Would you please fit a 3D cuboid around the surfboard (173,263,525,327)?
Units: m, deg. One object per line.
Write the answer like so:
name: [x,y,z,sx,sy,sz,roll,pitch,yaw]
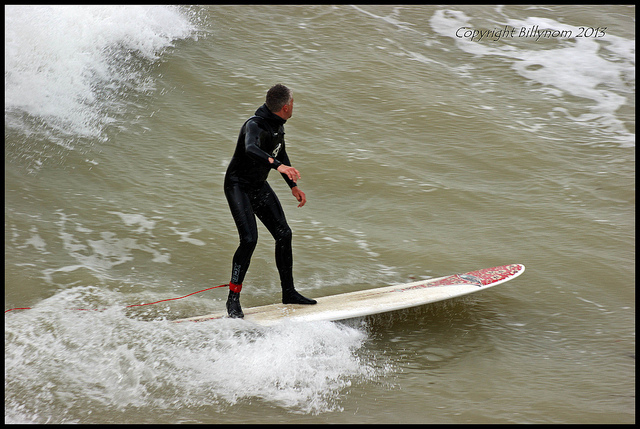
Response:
surfboard: [0.391,1.372,14.142,6.549,0.698,0.169,-5,-73,-7]
